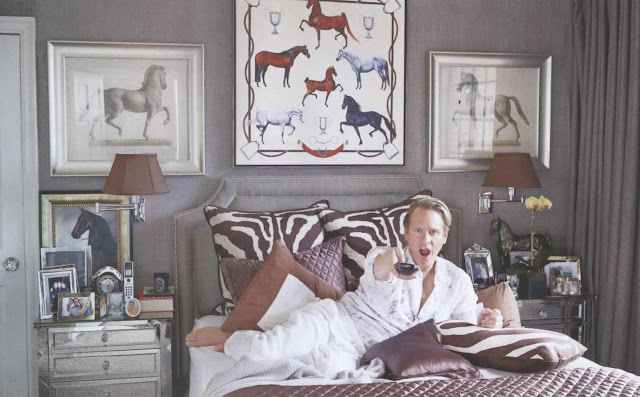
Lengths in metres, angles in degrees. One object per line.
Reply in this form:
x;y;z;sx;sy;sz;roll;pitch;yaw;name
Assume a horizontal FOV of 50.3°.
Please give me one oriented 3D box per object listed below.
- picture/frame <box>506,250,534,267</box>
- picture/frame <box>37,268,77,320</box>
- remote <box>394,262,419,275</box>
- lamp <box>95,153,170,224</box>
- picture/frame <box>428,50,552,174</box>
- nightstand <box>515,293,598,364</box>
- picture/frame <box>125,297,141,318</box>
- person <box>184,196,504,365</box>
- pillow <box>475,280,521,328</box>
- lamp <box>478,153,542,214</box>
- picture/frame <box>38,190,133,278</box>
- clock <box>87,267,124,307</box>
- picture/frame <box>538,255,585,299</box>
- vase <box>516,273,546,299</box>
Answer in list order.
1.680;0.510;5.761;0.170;0.117;0.023;7;-41;12;picture/frame
-2.032;0.733;5.210;0.383;0.497;0.054;0;-10;-17;picture/frame
0.572;0.470;4.577;0.152;0.086;0.056;-3;2;15;remote
-1.518;-0.100;5.482;0.542;0.500;0.447;-2;3;-15;lamp
1.431;-0.784;5.965;1.116;0.954;0.082;0;3;-11;picture/frame
1.935;0.995;5.812;0.759;0.704;0.437;1;-3;-4;nightstand
-1.456;0.832;5.232;0.123;0.134;0.098;1;2;-19;picture/frame
0.136;0.514;4.968;2.154;0.930;1.094;-3;10;-6;person
1.394;0.815;5.252;0.320;0.316;0.139;0;-3;33;pillow
1.545;-0.126;5.803;0.549;0.521;0.462;-1;1;1;lamp
-1.940;0.274;5.497;0.704;0.777;0.059;-1;-3;-6;picture/frame
-1.703;0.692;5.427;0.235;0.303;0.280;5;-2;-12;clock
1.986;0.659;5.675;0.357;0.381;0.040;3;-28;-3;picture/frame
1.743;0.714;5.622;0.218;0.209;0.090;-3;2;15;vase
